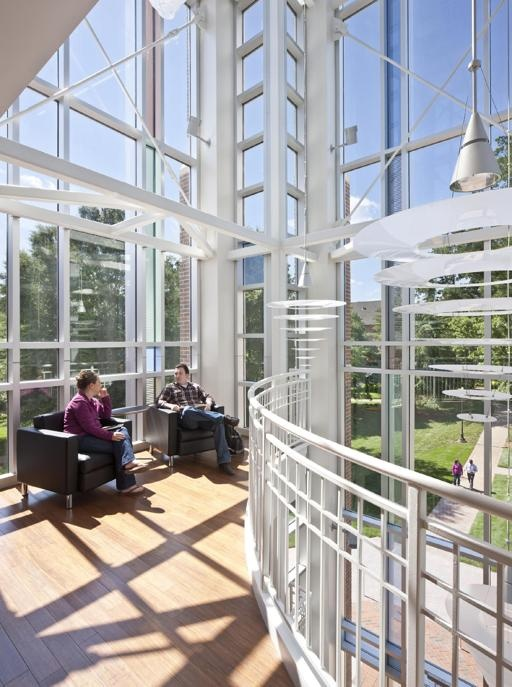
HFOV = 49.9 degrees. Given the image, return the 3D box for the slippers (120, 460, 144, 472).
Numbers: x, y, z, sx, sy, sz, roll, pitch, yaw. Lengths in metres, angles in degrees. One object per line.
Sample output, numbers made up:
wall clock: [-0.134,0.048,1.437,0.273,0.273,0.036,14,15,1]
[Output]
slippers: [-1.055,1.055,4.729,0.166,0.065,0.085,0,-6,-7]

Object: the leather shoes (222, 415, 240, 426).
leather shoes: [-0.285,0.813,5.777,0.188,0.121,0.109,9,0,15]

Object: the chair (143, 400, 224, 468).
chair: [-0.731,0.954,6.021,0.659,0.557,0.685,-1,0,-28]

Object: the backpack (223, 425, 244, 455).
backpack: [-0.253,1.117,6.311,0.227,0.330,0.340,-1,3,-27]

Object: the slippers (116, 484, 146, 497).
slippers: [-1.104,1.295,4.889,0.252,0.102,0.087,-3,-1,-25]

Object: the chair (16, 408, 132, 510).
chair: [-1.627,0.982,4.676,0.721,0.683,0.518,5,10,32]
